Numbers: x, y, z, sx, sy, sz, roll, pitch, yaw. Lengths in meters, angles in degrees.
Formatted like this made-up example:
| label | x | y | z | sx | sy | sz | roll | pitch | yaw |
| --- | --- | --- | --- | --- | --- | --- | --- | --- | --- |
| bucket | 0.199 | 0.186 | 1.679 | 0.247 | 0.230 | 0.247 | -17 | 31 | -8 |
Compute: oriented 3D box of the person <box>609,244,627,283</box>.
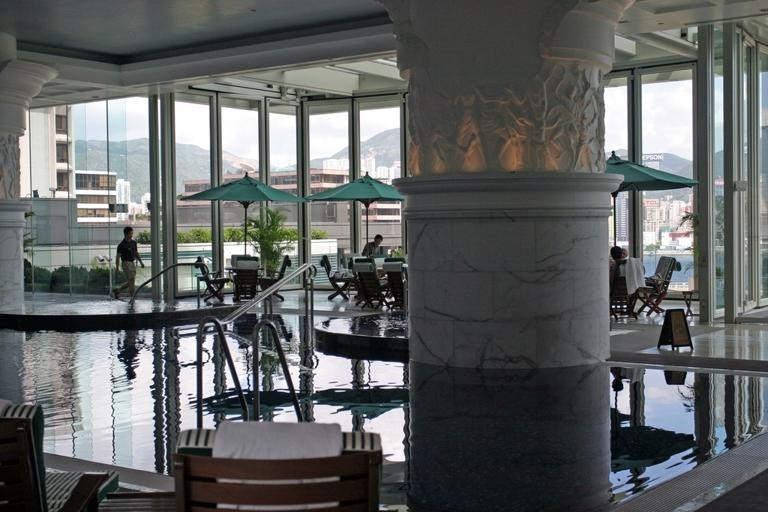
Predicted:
| label | x | y | z | sx | sy | sz | roll | pitch | yaw |
| --- | --- | --- | --- | --- | --- | --- | --- | --- | --- |
| person | 4.414 | 0.153 | 14.242 | 0.283 | 0.676 | 0.993 | -2 | 0 | 17 |

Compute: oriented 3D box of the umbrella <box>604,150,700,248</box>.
| label | x | y | z | sx | sy | sz | roll | pitch | yaw |
| --- | --- | --- | --- | --- | --- | --- | --- | --- | --- |
| umbrella | 5.138 | -1.134 | 15.167 | 1.997 | 1.365 | 1.977 | 2 | 5 | 34 |

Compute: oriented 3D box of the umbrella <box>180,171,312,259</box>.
| label | x | y | z | sx | sy | sz | roll | pitch | yaw |
| --- | --- | --- | --- | --- | --- | --- | --- | --- | --- |
| umbrella | -3.365 | -1.081 | 18.469 | 2.105 | 1.311 | 2.011 | -1 | 4 | -26 |

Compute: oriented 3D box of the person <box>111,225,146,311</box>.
| label | x | y | z | sx | sy | sz | roll | pitch | yaw |
| --- | --- | --- | --- | --- | --- | --- | --- | --- | --- |
| person | -5.982 | 0.124 | 17.495 | 0.628 | 1.345 | 1.413 | -2 | 0 | -7 |

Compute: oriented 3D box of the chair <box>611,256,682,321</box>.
| label | x | y | z | sx | sy | sz | roll | pitch | yaw |
| --- | --- | --- | --- | --- | --- | --- | --- | --- | --- |
| chair | 4.998 | 0.618 | 14.539 | 1.543 | 1.340 | 1.204 | -1 | 1 | 0 |

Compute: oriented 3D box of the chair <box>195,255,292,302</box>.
| label | x | y | z | sx | sy | sz | roll | pitch | yaw |
| --- | --- | --- | --- | --- | --- | --- | --- | --- | --- |
| chair | -3.392 | 0.626 | 17.309 | 1.651 | 0.642 | 1.534 | 0 | -1 | -4 |
